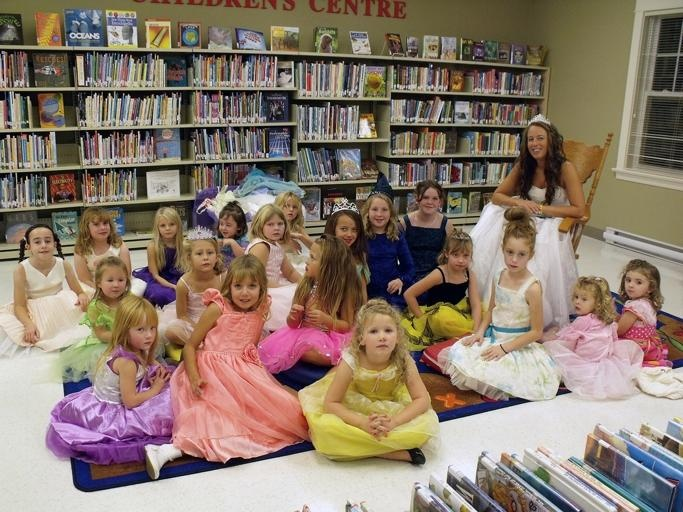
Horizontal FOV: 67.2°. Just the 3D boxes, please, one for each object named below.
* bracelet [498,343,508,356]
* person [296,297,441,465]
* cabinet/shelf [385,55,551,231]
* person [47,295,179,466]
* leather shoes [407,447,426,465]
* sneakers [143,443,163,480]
[{"bbox_3d":[0.927,0.537,2.953,0.015,0.054,0.041,-36,-6,8],"label":"bracelet"},{"bbox_3d":[0.149,0.613,2.595,0.820,0.974,0.643,0,14,-7],"label":"person"},{"bbox_3d":[1.331,-1.334,5.755,1.982,2.004,0.631,-5,15,-17],"label":"cabinet/shelf"},{"bbox_3d":[-1.078,0.662,2.648,0.626,0.750,0.756,5,16,-4],"label":"person"},{"bbox_3d":[0.345,0.920,2.362,0.039,0.046,0.113,-5,26,-19],"label":"leather shoes"},{"bbox_3d":[-0.838,0.908,2.278,0.061,0.160,0.056,-9,-20,-20],"label":"sneakers"}]
